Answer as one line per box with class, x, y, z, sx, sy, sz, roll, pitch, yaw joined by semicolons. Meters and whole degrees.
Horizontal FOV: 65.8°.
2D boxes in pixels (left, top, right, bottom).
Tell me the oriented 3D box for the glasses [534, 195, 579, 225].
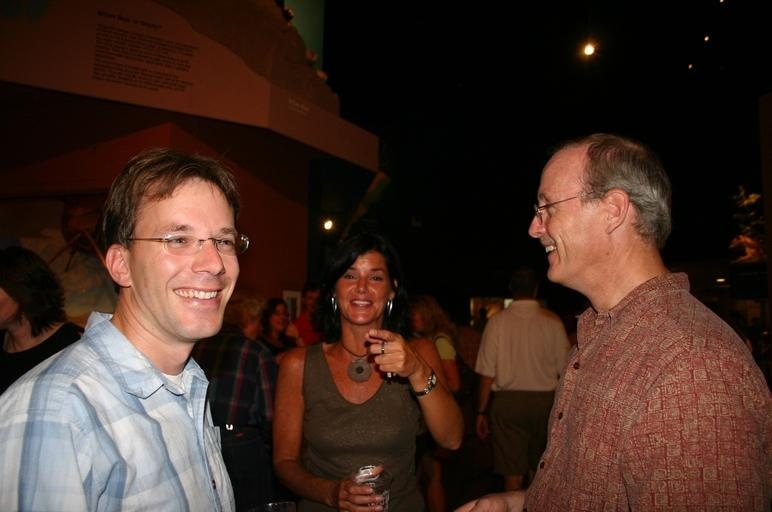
glasses;0.960;-0.278;3.411;0.171;0.060;0.161;-21;-2;8
